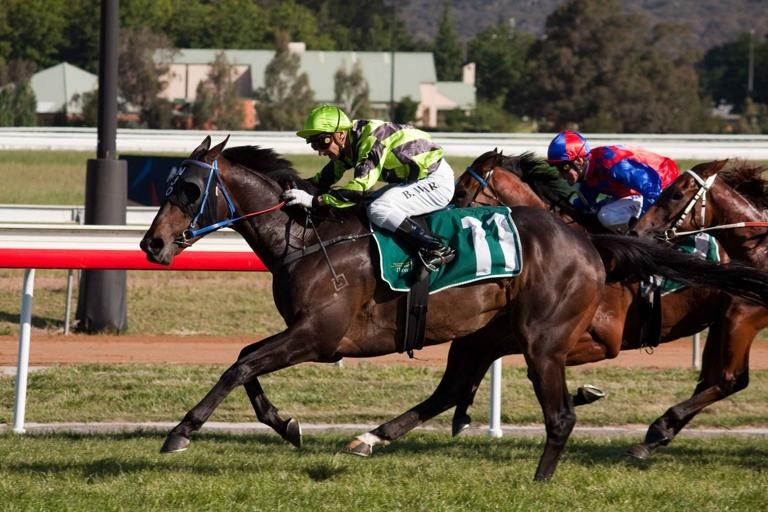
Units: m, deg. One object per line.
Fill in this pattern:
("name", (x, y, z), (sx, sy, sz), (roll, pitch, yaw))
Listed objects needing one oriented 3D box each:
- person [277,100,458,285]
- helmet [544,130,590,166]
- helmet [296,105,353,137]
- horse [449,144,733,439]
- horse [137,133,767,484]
("person", (-0.126, -0.691, 14.563), (1.697, 1.440, 1.055), (1, 15, -6))
("helmet", (1.784, -1.119, 15.151), (0.561, 0.292, 0.381), (-15, 16, -14))
("helmet", (-0.575, -1.265, 14.244), (0.434, 0.240, 0.297), (6, -13, -25))
("horse", (2.515, 0.544, 16.634), (5.562, 3.165, 1.179), (5, 4, -32))
("horse", (0.269, 0.485, 14.104), (5.092, 2.952, 0.918), (3, 9, -3))
